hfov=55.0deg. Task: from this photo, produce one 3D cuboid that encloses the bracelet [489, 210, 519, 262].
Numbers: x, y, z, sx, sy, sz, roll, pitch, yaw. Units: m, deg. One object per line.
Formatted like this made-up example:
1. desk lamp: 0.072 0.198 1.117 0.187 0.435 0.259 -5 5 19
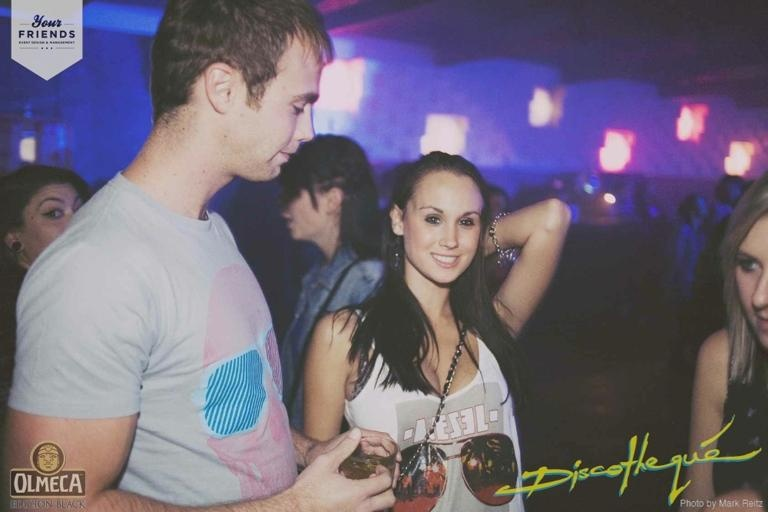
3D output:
1. bracelet: 0.646 -0.101 4.032 0.085 0.238 0.193 -10 -1 31
